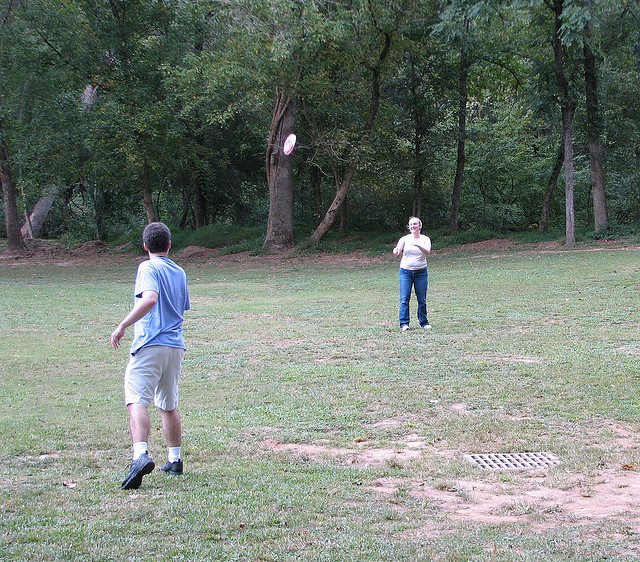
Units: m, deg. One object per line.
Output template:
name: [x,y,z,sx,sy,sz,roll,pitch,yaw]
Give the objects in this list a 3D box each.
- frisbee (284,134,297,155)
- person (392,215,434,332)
frisbee: [-1.195,-5.131,29.970,0.128,0.669,0.656,16,23,23]
person: [1.637,-0.113,13.827,0.657,1.982,1.092,0,10,8]
